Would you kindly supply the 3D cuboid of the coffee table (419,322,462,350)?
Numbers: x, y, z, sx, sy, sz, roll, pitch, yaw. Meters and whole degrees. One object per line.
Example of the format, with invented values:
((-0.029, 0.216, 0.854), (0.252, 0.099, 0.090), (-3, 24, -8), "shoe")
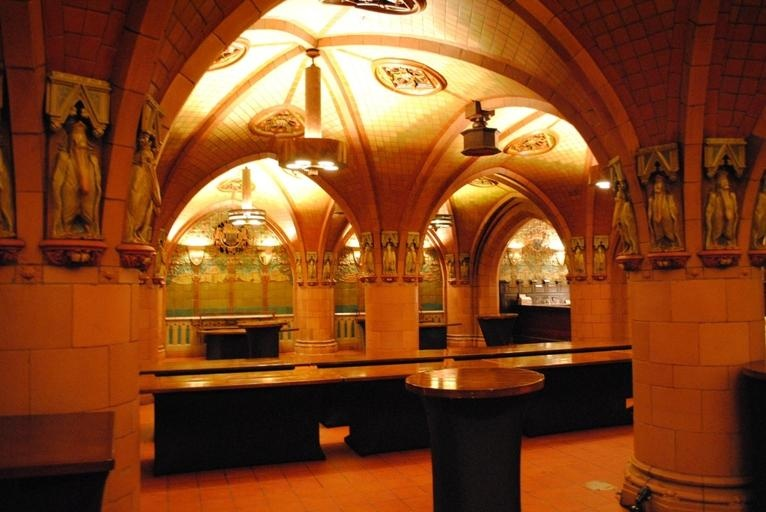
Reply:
((1.403, 2.036, 15.163), (0.775, 0.709, 0.738), (4, -8, -38), "coffee table")

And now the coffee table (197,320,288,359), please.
((-3.159, 2.032, 14.382), (1.375, 0.579, 1.748), (3, -5, -39), "coffee table")

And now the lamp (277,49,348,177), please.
((-1.146, -2.311, 9.118), (0.919, 2.084, 2.611), (-2, 4, -7), "lamp")

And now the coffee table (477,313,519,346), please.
((2.853, 1.825, 15.024), (1.047, 0.866, 0.945), (1, -5, -31), "coffee table")

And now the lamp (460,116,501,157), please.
((1.539, -1.913, 9.265), (0.587, 0.527, 0.575), (-2, 2, -21), "lamp")
